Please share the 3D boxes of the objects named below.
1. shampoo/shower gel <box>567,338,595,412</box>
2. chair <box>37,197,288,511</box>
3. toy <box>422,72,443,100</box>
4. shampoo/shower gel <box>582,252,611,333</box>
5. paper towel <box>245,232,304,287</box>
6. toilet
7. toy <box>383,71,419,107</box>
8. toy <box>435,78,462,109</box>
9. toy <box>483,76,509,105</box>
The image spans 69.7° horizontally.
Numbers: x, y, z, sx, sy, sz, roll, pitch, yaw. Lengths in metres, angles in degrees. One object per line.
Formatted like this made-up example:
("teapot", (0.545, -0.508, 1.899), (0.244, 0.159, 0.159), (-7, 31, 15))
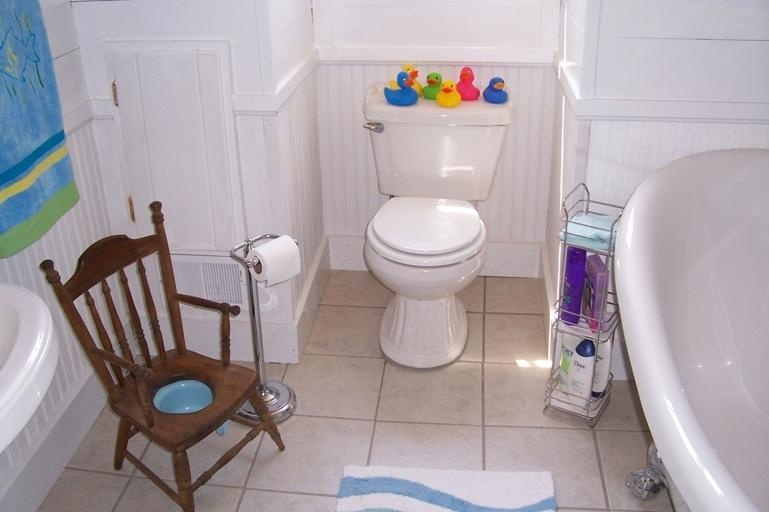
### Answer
("shampoo/shower gel", (0.774, 0.475, 2.151), (0.086, 0.325, 0.080), (6, 11, 18))
("chair", (-0.808, 0.364, 2.021), (0.605, 0.960, 0.532), (29, 40, 20))
("toy", (0.240, -0.806, 2.597), (0.088, 0.113, 0.123), (9, 30, 8))
("shampoo/shower gel", (0.777, 0.128, 2.033), (0.053, 0.204, 0.271), (-3, 7, 9))
("paper towel", (-0.384, 0.024, 2.004), (0.120, 0.146, 0.165), (8, 20, 37))
("toilet", (0.207, -0.134, 2.574), (0.659, 1.057, 0.897), (4, 28, 8))
("toy", (0.086, -0.769, 2.541), (0.164, 0.155, 0.113), (8, 28, 34))
("toy", (0.299, -0.729, 2.471), (0.114, 0.110, 0.119), (1, 29, 7))
("toy", (0.507, -0.741, 2.494), (0.116, 0.117, 0.122), (-18, 33, -32))
